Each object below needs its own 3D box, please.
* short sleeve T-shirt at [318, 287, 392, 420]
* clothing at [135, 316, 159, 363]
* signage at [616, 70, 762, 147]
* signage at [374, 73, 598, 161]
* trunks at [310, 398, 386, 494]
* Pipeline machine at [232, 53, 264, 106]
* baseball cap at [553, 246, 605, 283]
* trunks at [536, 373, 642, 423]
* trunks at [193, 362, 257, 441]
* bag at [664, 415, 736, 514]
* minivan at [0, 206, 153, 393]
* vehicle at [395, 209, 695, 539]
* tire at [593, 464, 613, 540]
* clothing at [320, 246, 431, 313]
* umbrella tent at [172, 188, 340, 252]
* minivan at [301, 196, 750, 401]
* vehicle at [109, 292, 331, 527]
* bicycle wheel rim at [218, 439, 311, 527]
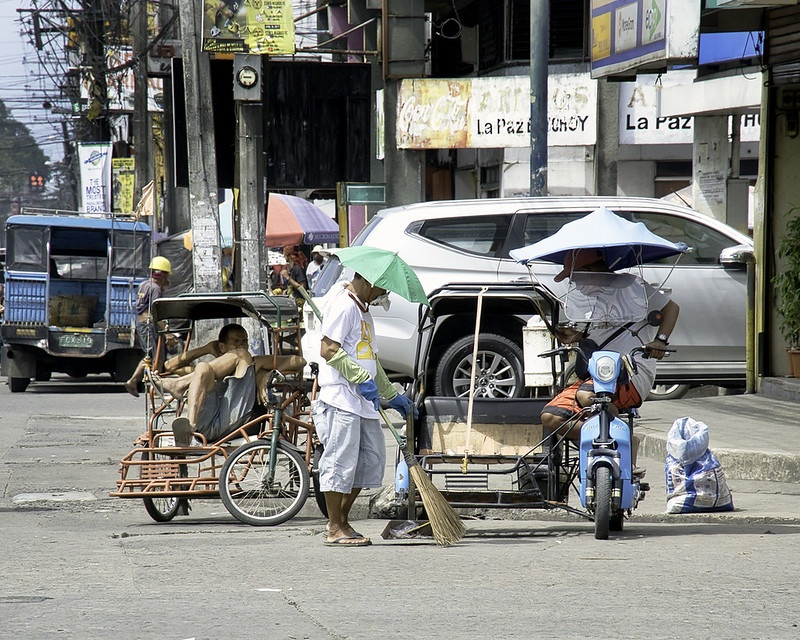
[{"bbox_3d":[-0.413,0.285,15.773,0.553,1.480,1.205,-2,-11,16],"label":"short sleeve T-shirt"},{"bbox_3d":[-2.614,0.169,18.344,0.127,0.437,0.055,2,-7,25],"label":"clothing"},{"bbox_3d":[4.265,-3.397,27.405,2.033,1.120,2.692,2,4,22],"label":"signage"},{"bbox_3d":[1.258,-3.452,29.060,2.760,1.106,0.353,-1,5,-28],"label":"signage"},{"bbox_3d":[-0.457,1.087,15.516,0.480,1.018,0.808,-3,-6,30],"label":"trunks"},{"bbox_3d":[-1.881,-3.063,21.853,0.449,0.716,0.521,0,-1,-4],"label":"Pipeline machine"},{"bbox_3d":[1.658,-0.532,16.062,0.402,0.228,0.269,-7,-5,4],"label":"baseball cap"},{"bbox_3d":[1.721,0.675,15.723,0.883,0.384,0.405,1,4,8],"label":"trunks"},{"bbox_3d":[-1.668,0.777,16.786,0.568,0.706,0.340,-1,4,-7],"label":"trunks"},{"bbox_3d":[2.790,1.259,16.554,0.556,0.925,0.686,-7,32,16],"label":"bag"},{"bbox_3d":[-5.066,-0.274,26.711,2.372,3.122,4.000,2,0,-5],"label":"minivan"},{"bbox_3d":[1.403,0.567,16.586,2.667,3.242,3.235,5,-8,-34],"label":"vehicle"},{"bbox_3d":[1.772,1.544,15.310,0.222,0.642,0.587,1,-8,4],"label":"tire"},{"bbox_3d":[-0.188,-0.356,15.550,0.570,0.236,0.584,35,9,5],"label":"clothing"},{"bbox_3d":[-2.456,-2.037,34.129,2.483,0.887,2.499,2,8,30],"label":"umbrella tent"},{"bbox_3d":[1.632,-0.400,20.743,4.738,1.854,2.404,-1,0,-7],"label":"minivan"},{"bbox_3d":[-1.673,0.800,17.406,1.510,2.105,2.541,0,5,8],"label":"vehicle"},{"bbox_3d":[-1.255,1.500,16.348,0.716,0.788,0.201,-4,-2,2],"label":"bicycle wheel rim"}]
